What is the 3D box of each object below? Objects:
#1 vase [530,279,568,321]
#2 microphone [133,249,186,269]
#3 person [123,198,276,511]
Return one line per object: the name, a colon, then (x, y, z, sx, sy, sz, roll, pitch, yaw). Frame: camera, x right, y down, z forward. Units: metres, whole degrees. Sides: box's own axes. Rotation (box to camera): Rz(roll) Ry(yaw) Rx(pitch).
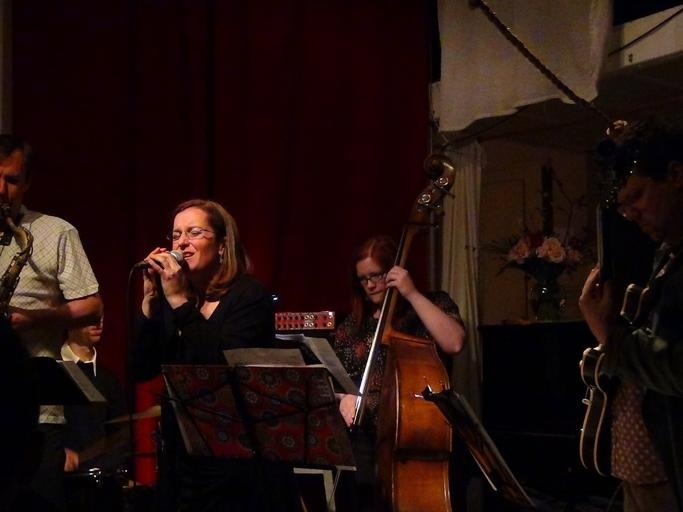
vase: (1.296, 0.272, 4.409, 0.194, 0.323, 0.125, -8, 17, 3)
microphone: (-0.875, 0.017, 3.326, 0.065, 0.066, 0.228, -17, 3, 41)
person: (-0.642, 0.410, 3.165, 0.737, 1.192, 0.599, -2, -1, -3)
